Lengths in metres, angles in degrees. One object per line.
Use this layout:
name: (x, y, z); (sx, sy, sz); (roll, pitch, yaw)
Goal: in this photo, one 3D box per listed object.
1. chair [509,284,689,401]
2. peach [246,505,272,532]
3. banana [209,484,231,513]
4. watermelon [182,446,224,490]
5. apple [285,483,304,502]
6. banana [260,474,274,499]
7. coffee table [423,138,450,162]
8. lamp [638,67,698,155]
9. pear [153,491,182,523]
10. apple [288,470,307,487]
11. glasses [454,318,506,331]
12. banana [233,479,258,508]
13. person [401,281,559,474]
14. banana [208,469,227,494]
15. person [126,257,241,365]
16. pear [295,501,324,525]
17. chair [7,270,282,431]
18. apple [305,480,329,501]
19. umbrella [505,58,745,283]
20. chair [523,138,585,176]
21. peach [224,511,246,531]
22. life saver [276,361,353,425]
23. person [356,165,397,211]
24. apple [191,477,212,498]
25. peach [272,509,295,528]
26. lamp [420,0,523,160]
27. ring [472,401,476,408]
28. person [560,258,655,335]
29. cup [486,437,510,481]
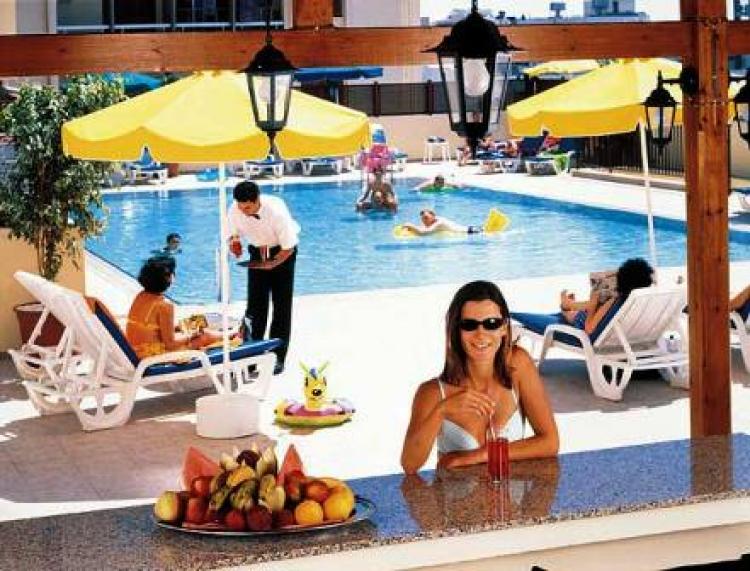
chair: (2.015, 0.375, 8.380); (0.981, 0.894, 1.677); (-5, 13, -28)
peach: (-0.432, 0.844, 3.336); (0.088, 0.090, 0.086); (-1, 4, -1)
banana: (-0.590, 0.785, 3.396); (0.049, 0.102, 0.033); (23, -27, 17)
watermelon: (-0.694, 0.748, 3.691); (0.170, 0.163, 0.080); (28, 19, 34)
apple: (-0.312, 0.771, 3.435); (0.050, 0.054, 0.069); (-1, -6, 27)
banana: (-0.413, 0.740, 3.405); (0.045, 0.084, 0.033); (9, -2, 25)
coffee table: (2.047, -4.676, 31.424); (1.032, 1.002, 0.790); (-7, 12, -24)
lamp: (2.323, -1.446, 7.243); (0.313, 0.750, 3.073); (0, 6, 16)
pear: (-0.793, 0.827, 3.494); (0.106, 0.136, 0.112); (3, -1, 4)
apple: (-0.308, 0.738, 3.529); (0.050, 0.061, 0.050); (16, -45, -36)
glasses: (0.474, 0.170, 4.079); (0.213, 0.060, 0.068); (-1, 5, 3)
banana: (-0.499, 0.770, 3.392); (0.052, 0.037, 0.111); (13, 44, 11)
person: (0.469, 0.402, 4.108); (0.719, 0.829, 0.525); (-1, 5, 0)
banana: (-0.606, 0.735, 3.459); (0.114, 0.034, 0.038); (-39, -9, -39)
person: (-1.639, 0.190, 7.938); (0.509, 0.954, 1.150); (10, 10, 41)
pear: (-0.257, 0.840, 3.434); (0.084, 0.083, 0.083); (-19, -1, -37)
chair: (-2.003, 0.407, 7.857); (2.056, 1.221, 1.216); (-6, 11, -27)
apple: (-0.231, 0.767, 3.450); (0.067, 0.075, 0.082); (-6, 2, 17)
umbrella: (2.660, -1.193, 9.327); (2.362, 2.174, 2.424); (-6, 7, 29)
chair: (5.404, -3.779, 27.151); (1.470, 1.122, 1.072); (-5, 7, -33)
peach: (-0.523, 0.854, 3.344); (0.071, 0.075, 0.068); (-1, -1, 2)
life saver: (-0.522, 0.875, 7.541); (0.603, 0.490, 0.622); (3, 4, 29)
person: (0.028, -2.150, 20.720); (0.905, 1.084, 0.660); (-2, 12, 9)
apple: (-0.674, 0.765, 3.490); (0.065, 0.068, 0.067); (-3, -20, 3)
peach: (-0.349, 0.854, 3.376); (0.064, 0.068, 0.062); (-1, -2, -1)
lamp: (0.497, -1.029, 4.652); (0.478, 0.744, 0.796); (-1, 5, 3)
ring: (0.436, 0.512, 3.996); (0.020, 0.020, 0.021); (0, 14, 0)
person: (2.011, 0.053, 8.228); (0.463, 0.656, 1.021); (-2, 11, -27)
cup: (0.514, 0.703, 3.807); (0.084, 0.181, 0.130); (0, 5, 7)
